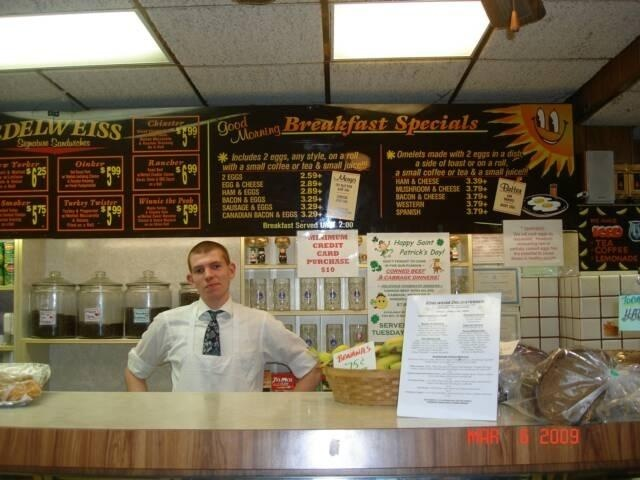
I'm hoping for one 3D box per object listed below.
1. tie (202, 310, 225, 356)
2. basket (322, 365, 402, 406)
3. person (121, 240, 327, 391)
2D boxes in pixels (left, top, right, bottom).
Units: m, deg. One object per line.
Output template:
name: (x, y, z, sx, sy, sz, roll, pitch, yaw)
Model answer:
tie: (-0.576, 0.490, 3.340, 0.102, 0.217, 0.144, -4, 10, -7)
basket: (0.234, 0.576, 2.507, 0.424, 0.125, 0.394, 13, -16, -42)
person: (-0.548, 0.479, 3.865, 1.254, 1.228, 0.369, 0, -19, -7)
